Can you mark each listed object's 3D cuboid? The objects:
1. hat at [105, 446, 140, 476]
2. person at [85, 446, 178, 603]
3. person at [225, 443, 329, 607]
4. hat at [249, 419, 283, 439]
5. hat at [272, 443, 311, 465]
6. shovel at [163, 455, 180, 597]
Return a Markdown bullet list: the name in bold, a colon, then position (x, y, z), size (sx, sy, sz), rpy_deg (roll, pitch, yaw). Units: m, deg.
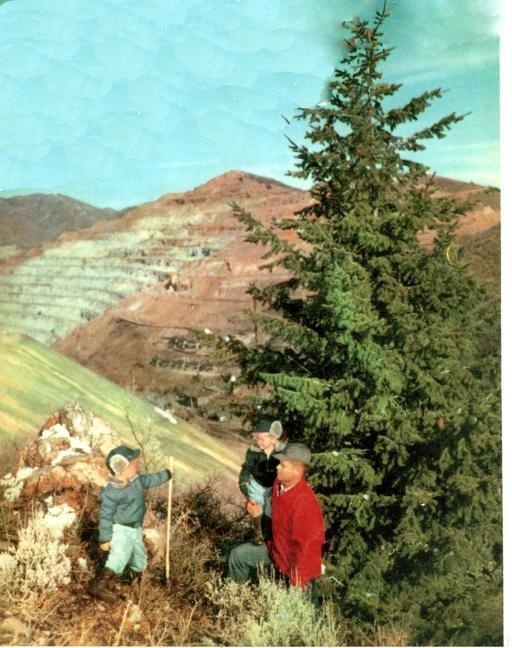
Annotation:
- **hat**: position (-1.301, 1.321, 6.527), size (0.343, 0.284, 0.244), rpy_deg (-9, 13, -44)
- **person**: position (-1.315, 1.971, 6.686), size (0.301, 1.616, 0.687), rpy_deg (9, 14, 40)
- **person**: position (0.245, 1.826, 6.123), size (0.367, 1.544, 0.985), rpy_deg (-10, 14, -43)
- **hat**: position (0.100, 0.995, 6.419), size (0.248, 0.113, 0.167), rpy_deg (15, -4, 15)
- **hat**: position (0.326, 1.157, 5.926), size (0.278, 0.109, 0.184), rpy_deg (13, 0, -1)
- **shovel**: position (-0.964, 2.315, 7.409), size (0.071, 1.272, 0.063), rpy_deg (5, -5, 10)
